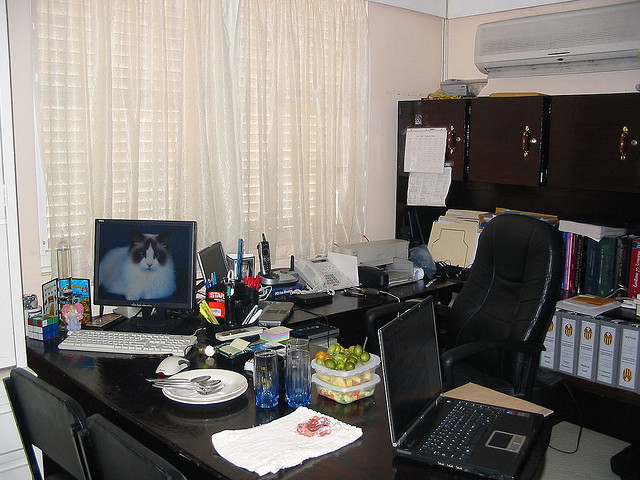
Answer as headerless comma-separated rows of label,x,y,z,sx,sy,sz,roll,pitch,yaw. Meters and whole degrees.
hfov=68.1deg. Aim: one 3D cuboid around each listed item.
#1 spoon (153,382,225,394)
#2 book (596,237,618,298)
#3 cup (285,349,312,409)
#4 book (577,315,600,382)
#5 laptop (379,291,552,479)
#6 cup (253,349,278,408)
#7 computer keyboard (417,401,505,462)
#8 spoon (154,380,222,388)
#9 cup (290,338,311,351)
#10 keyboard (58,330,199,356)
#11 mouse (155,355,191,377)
spoon,-0.451,0.548,1.761,0.194,0.022,0.078,0,10,-3
book,2.008,0.179,3.399,0.150,0.412,0.432,10,2,32
cup,-0.075,0.494,1.733,0.101,0.202,0.174,0,10,-2
book,1.775,0.712,3.138,0.121,0.438,0.036,7,12,31
laptop,0.466,0.511,1.558,0.471,0.482,0.576,-2,7,33
cup,-0.193,0.503,1.727,0.088,0.192,0.086,0,11,0
computer keyboard,0.470,0.620,1.551,0.146,0.010,0.395,8,13,36
spoon,-0.498,0.538,1.780,0.249,0.014,0.076,0,10,-1
cup,-0.079,0.390,1.761,0.051,0.054,0.051,0,0,0
keyboard,-0.895,0.477,2.270,0.651,0.058,0.243,2,10,12
mouse,-0.594,0.525,1.942,0.146,0.070,0.141,-4,11,-21
